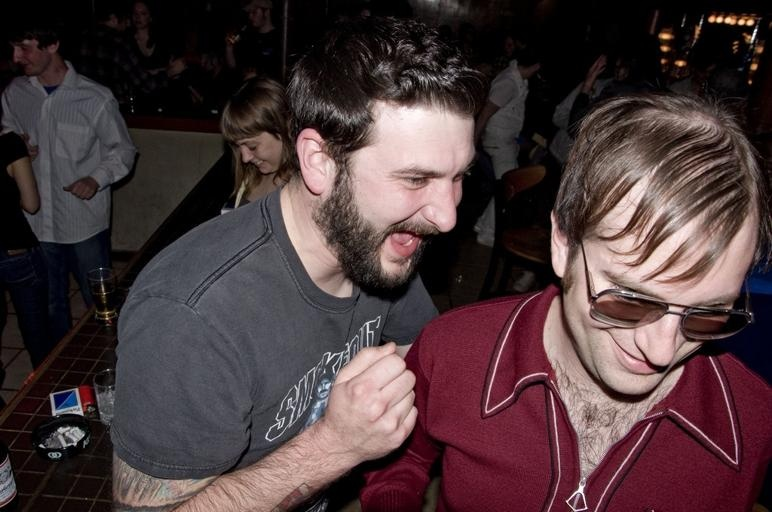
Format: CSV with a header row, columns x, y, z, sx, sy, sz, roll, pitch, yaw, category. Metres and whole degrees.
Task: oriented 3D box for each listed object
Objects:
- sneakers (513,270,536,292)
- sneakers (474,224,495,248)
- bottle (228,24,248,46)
x,y,z,sx,sy,sz,roll,pitch,yaw,category
1.209,0.228,5.351,0.151,0.113,0.083,-28,6,0,sneakers
1.039,-0.183,6.477,0.228,0.191,0.176,3,8,14,sneakers
-1.503,-2.228,6.228,0.188,0.188,0.058,-46,15,-11,bottle
